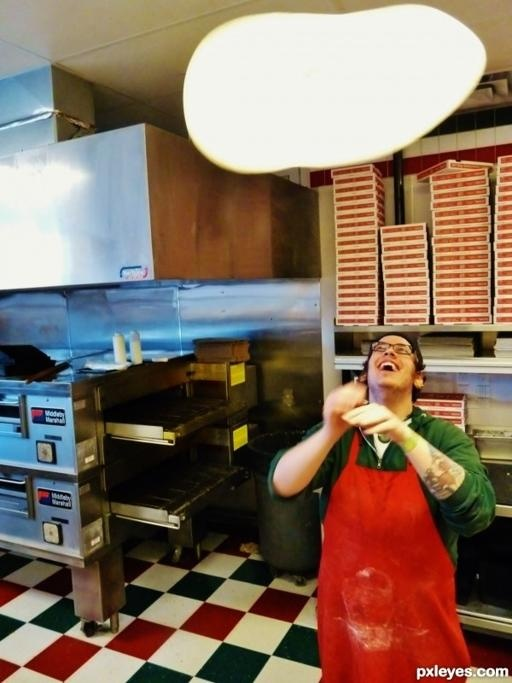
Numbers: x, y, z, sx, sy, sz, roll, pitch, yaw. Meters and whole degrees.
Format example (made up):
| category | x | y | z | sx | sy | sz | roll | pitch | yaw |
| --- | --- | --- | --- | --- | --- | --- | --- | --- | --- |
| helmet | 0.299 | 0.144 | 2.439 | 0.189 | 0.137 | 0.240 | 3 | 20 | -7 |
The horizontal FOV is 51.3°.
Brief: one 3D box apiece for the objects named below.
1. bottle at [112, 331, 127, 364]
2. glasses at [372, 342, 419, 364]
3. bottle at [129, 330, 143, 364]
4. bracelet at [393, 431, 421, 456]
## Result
| category | x | y | z | sx | sy | sz | roll | pitch | yaw |
| --- | --- | --- | --- | --- | --- | --- | --- | --- | --- |
| bottle | -0.766 | 0.043 | 3.007 | 0.064 | 0.168 | 0.222 | -4 | 4 | -14 |
| glasses | 0.364 | 0.031 | 1.434 | 0.122 | 0.056 | 0.076 | -1 | 4 | 15 |
| bottle | -0.700 | 0.034 | 3.111 | 0.060 | 0.193 | 0.167 | -4 | 4 | -12 |
| bracelet | 0.351 | 0.234 | 1.223 | 0.038 | 0.048 | 0.019 | 5 | 15 | -16 |
